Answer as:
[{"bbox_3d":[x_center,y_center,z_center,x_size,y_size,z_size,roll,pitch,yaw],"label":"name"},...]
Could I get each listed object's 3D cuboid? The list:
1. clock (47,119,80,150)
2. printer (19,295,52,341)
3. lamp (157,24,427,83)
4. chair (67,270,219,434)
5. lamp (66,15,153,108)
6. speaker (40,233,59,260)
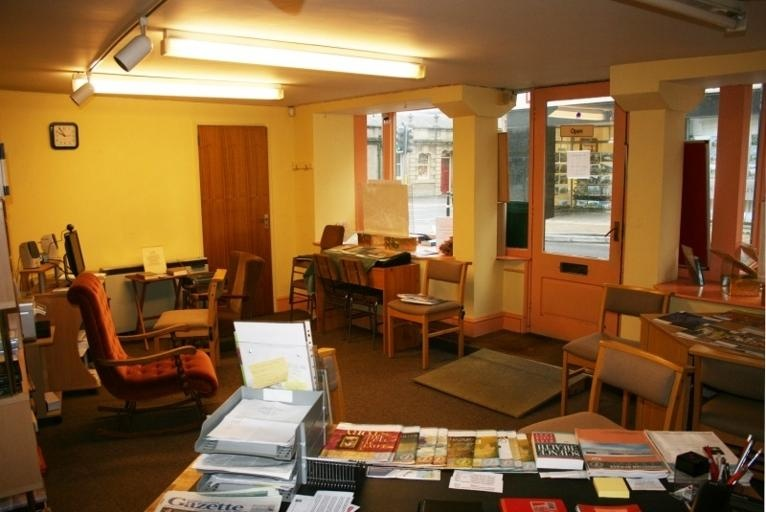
[{"bbox_3d":[-3.868,-1.478,6.861,0.390,0.409,0.058,-4,7,-37],"label":"clock"},{"bbox_3d":[-3.143,0.574,5.131,0.203,0.252,0.368,-2,10,-22],"label":"printer"},{"bbox_3d":[-0.733,-1.745,4.956,2.241,0.273,0.259,-6,9,-25],"label":"lamp"},{"bbox_3d":[-2.172,0.854,5.294,1.118,1.474,0.882,-5,9,-15],"label":"chair"},{"bbox_3d":[-2.411,-1.729,4.992,0.602,0.158,0.276,-43,37,-12],"label":"lamp"},{"bbox_3d":[-3.731,-0.107,6.371,0.149,0.263,0.480,-8,10,-30],"label":"speaker"}]
